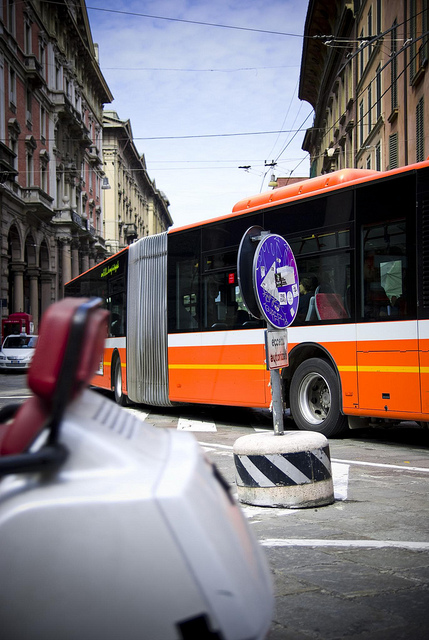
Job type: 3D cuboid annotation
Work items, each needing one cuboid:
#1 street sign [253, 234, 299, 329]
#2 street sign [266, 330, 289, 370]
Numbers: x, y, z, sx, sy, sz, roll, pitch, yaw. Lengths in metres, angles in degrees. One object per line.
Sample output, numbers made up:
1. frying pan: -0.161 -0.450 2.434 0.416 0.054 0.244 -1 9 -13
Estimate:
1. street sign: 0.617 -0.387 5.441 0.171 0.942 0.835 0 -5 30
2. street sign: 0.638 0.297 5.482 0.045 0.396 0.409 -2 1 36
